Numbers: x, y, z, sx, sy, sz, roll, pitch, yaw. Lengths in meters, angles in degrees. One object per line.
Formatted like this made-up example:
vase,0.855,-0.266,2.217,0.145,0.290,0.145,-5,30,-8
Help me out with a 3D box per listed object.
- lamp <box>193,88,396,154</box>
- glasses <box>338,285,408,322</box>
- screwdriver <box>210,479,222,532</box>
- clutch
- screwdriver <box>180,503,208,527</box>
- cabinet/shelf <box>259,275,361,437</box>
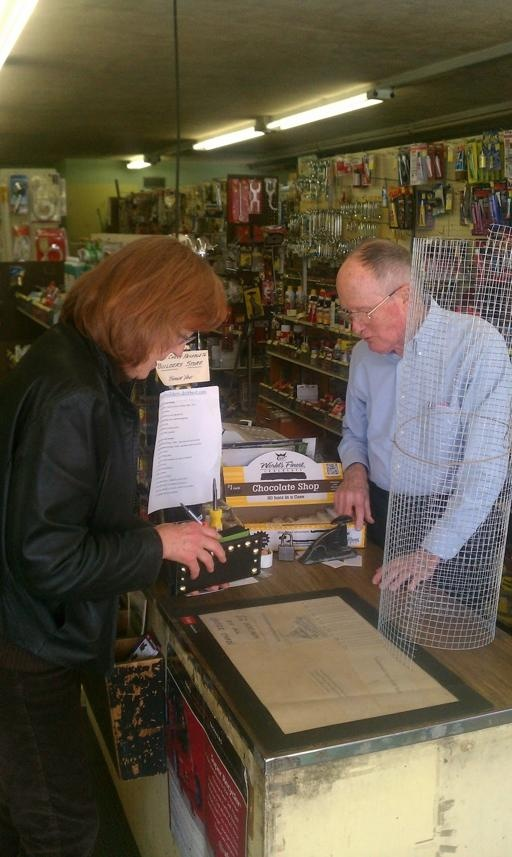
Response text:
lamp,0.501,-3.774,7.933,0.358,0.108,2.211,-21,17,-31
glasses,0.358,-0.377,1.932,0.124,0.038,0.118,-38,17,-7
screwdriver,-0.108,0.214,1.723,0.032,0.163,0.032,-3,4,-2
clutch,-0.086,0.314,1.561,0.183,0.138,0.045,-5,32,-21
screwdriver,-0.166,0.228,1.706,0.012,0.065,0.022,-47,37,2
cabinet/shelf,0.508,-0.656,6.194,0.500,1.665,1.530,-2,16,-31
